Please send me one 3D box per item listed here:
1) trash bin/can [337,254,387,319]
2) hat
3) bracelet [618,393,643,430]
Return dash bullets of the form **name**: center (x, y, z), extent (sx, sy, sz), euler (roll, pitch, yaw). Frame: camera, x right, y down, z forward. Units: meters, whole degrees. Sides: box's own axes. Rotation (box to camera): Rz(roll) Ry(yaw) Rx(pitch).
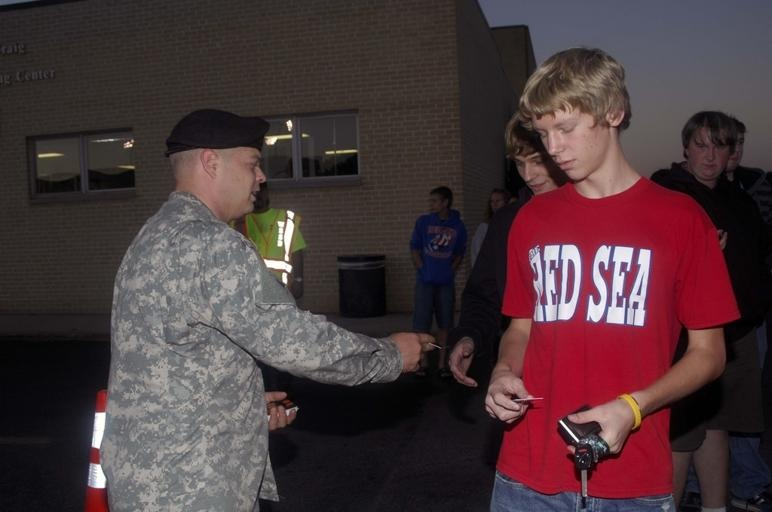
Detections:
- **trash bin/can**: center (-0.345, 0.541, 13.908), extent (1.140, 1.206, 1.114), euler (-3, 6, -33)
- **hat**: center (-1.046, -0.776, 4.439), extent (0.462, 0.167, 0.352), euler (1, 5, -7)
- **bracelet**: center (1.350, 0.861, 3.882), extent (0.115, 0.201, 0.076), euler (2, 10, 28)
